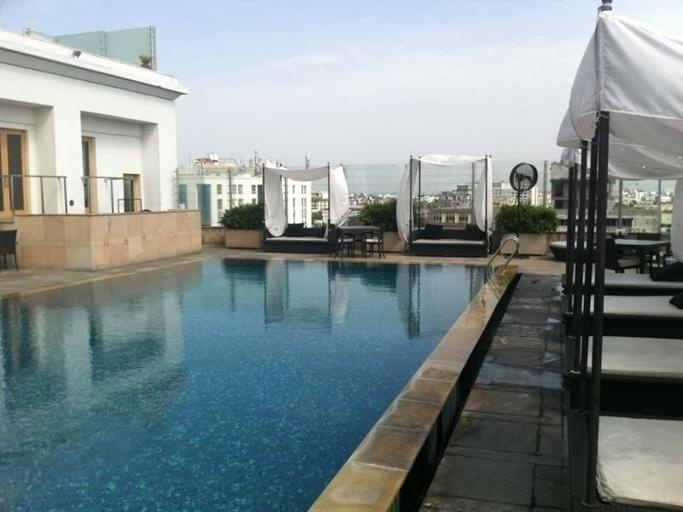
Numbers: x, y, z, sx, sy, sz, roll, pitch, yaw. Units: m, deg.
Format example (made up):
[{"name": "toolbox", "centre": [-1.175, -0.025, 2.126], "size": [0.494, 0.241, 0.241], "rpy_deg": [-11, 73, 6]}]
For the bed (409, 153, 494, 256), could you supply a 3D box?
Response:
[{"name": "bed", "centre": [2.948, -1.303, 16.597], "size": [2.702, 3.080, 1.489], "rpy_deg": [0, 0, 20]}]

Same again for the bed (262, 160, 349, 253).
[{"name": "bed", "centre": [-0.933, -1.305, 17.309], "size": [2.080, 2.228, 1.789], "rpy_deg": [0, 0, 10]}]

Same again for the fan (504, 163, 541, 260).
[{"name": "fan", "centre": [4.803, -1.316, 16.769], "size": [0.663, 2.415, 0.477], "rpy_deg": [14, 36, 28]}]

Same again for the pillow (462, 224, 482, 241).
[{"name": "pillow", "centre": [3.415, -0.609, 16.110], "size": [0.338, 0.386, 0.142], "rpy_deg": [1, -3, 28]}]

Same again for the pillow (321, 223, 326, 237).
[{"name": "pillow", "centre": [-0.471, -0.698, 17.467], "size": [0.082, 0.301, 0.273], "rpy_deg": [4, -4, -28]}]
